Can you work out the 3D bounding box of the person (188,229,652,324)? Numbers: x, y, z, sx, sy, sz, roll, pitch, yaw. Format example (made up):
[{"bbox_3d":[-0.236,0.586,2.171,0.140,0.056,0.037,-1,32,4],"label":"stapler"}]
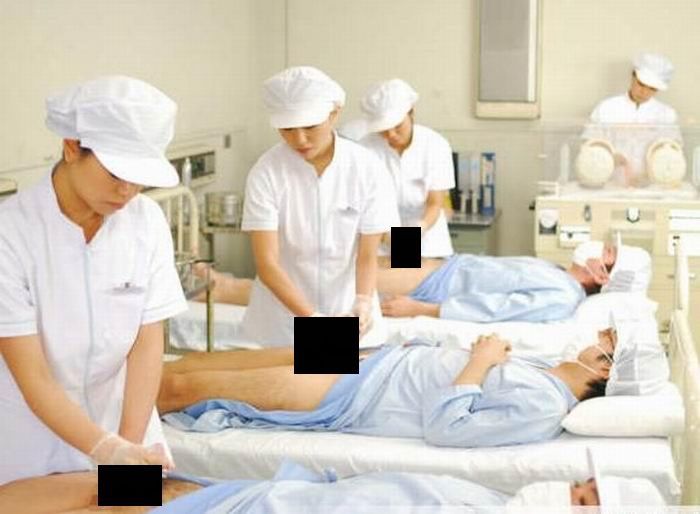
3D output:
[{"bbox_3d":[0.179,0.057,2.683,1.277,0.254,0.436,-2,5,4],"label":"person"}]

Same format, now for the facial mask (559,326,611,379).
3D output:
[{"bbox_3d":[0.671,0.265,2.661,0.152,0.108,0.069,-33,-11,4],"label":"facial mask"}]

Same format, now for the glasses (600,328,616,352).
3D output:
[{"bbox_3d":[0.711,0.222,2.615,0.044,0.054,0.059,0,-14,0],"label":"glasses"}]

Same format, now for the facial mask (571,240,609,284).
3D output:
[{"bbox_3d":[0.660,0.010,2.578,0.083,0.121,0.113,0,-4,-28],"label":"facial mask"}]

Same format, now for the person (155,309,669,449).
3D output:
[{"bbox_3d":[0.164,0.364,2.595,1.212,0.305,0.507,-2,-4,5],"label":"person"}]

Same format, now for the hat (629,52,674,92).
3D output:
[{"bbox_3d":[0.775,-0.474,2.428,0.101,0.094,0.028,-4,9,-13],"label":"hat"}]

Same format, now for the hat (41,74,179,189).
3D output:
[{"bbox_3d":[-0.532,-0.308,2.151,0.284,0.144,0.214,36,32,17],"label":"hat"}]

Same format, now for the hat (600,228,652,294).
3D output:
[{"bbox_3d":[0.754,-0.002,2.654,0.158,0.169,0.122,3,29,3],"label":"hat"}]

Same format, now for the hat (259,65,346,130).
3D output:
[{"bbox_3d":[-0.122,-0.404,2.396,0.137,0.094,0.181,-4,10,16],"label":"hat"}]
